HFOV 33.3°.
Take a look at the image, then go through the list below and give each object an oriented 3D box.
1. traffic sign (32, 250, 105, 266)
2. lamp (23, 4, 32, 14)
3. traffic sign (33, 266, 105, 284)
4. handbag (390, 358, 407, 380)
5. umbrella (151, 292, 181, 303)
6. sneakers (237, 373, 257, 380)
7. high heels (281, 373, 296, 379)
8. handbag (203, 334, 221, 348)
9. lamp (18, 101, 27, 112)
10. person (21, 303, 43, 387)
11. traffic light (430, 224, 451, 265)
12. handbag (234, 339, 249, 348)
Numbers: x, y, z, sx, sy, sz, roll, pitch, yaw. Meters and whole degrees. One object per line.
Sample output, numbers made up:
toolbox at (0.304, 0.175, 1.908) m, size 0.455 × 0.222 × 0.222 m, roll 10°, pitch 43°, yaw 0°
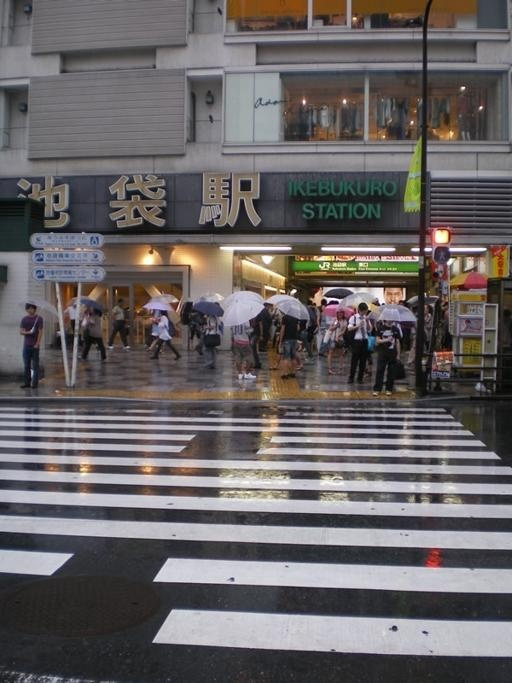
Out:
traffic sign at (-3.509, -1.563, 16.015) m, size 1.410 × 0.295 × 0.413 m, roll 1°, pitch 3°, yaw 14°
lamp at (-7.207, -10.347, 26.803) m, size 0.250 × 0.303 × 0.264 m, roll -3°, pitch 11°, yaw 9°
traffic sign at (-3.470, -1.225, 15.886) m, size 1.440 × 0.287 × 0.451 m, roll 2°, pitch 3°, yaw 23°
handbag at (2.556, 0.495, 15.098) m, size 0.193 × 0.342 × 0.649 m, roll 1°, pitch 3°, yaw 12°
umbrella at (-2.585, -1.285, 25.056) m, size 0.430 × 0.251 × 0.465 m, roll 5°, pitch 8°, yaw 26°
sneakers at (-0.145, 0.722, 17.460) m, size 0.377 × 0.178 × 0.147 m, roll -2°, pitch 5°, yaw -22°
high heels at (0.722, 0.737, 18.267) m, size 0.292 × 0.151 × 0.124 m, roll 2°, pitch -2°, yaw -14°
handbag at (-1.001, 0.027, 19.723) m, size 0.394 × 0.339 × 0.246 m, roll -1°, pitch -7°, yaw -1°
lamp at (-7.410, -7.402, 27.078) m, size 0.311 × 0.367 × 0.343 m, roll -3°, pitch 10°, yaw -13°
person at (-4.313, 0.066, 16.435) m, size 0.396 × 1.595 × 0.990 m, roll 0°, pitch 3°, yaw -15°
traffic light at (3.395, -1.711, 15.525) m, size 0.304 × 0.679 × 0.437 m, roll 1°, pitch 3°, yaw 8°
handbag at (-0.280, 0.036, 17.014) m, size 0.296 × 0.138 × 0.198 m, roll 0°, pitch 3°, yaw -3°
